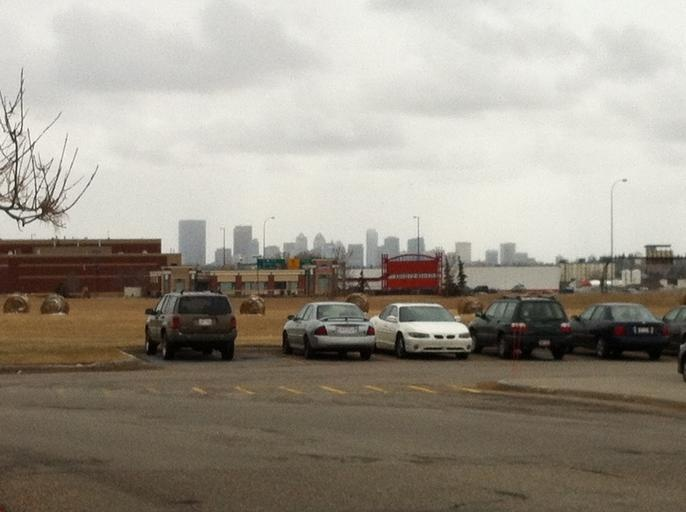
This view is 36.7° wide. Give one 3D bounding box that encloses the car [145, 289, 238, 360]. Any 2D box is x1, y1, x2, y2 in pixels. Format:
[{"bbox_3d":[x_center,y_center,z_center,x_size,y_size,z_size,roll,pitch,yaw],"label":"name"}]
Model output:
[{"bbox_3d":[-4.459,1.912,29.436,1.564,1.316,2.684,1,1,-19],"label":"car"}]
